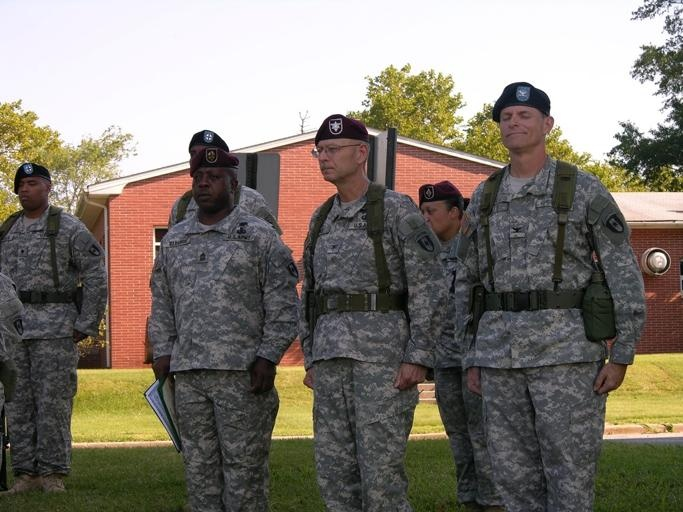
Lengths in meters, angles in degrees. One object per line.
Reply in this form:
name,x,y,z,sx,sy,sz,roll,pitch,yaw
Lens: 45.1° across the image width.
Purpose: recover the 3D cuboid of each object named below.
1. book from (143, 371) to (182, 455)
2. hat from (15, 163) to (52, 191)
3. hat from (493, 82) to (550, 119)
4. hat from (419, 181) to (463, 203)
book,-1.338,1.151,6.142,0.141,0.497,0.486,-20,-47,-5
hat,-3.328,-0.889,8.923,0.301,0.148,0.380,-6,-11,-3
hat,1.307,-1.138,5.941,0.356,0.163,0.402,7,0,-5
hat,0.990,-0.653,8.239,0.353,0.170,0.244,2,-7,-12
